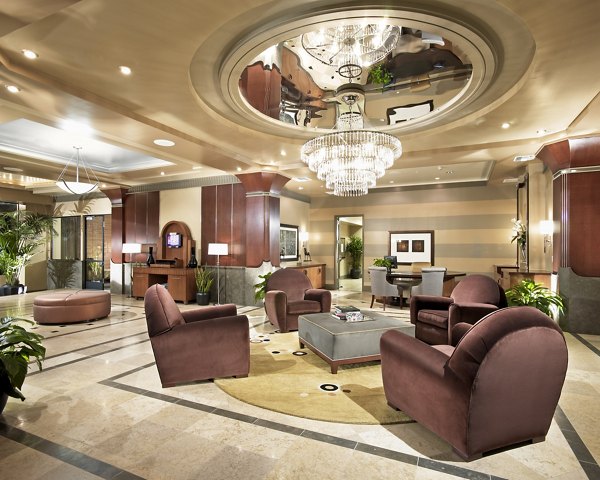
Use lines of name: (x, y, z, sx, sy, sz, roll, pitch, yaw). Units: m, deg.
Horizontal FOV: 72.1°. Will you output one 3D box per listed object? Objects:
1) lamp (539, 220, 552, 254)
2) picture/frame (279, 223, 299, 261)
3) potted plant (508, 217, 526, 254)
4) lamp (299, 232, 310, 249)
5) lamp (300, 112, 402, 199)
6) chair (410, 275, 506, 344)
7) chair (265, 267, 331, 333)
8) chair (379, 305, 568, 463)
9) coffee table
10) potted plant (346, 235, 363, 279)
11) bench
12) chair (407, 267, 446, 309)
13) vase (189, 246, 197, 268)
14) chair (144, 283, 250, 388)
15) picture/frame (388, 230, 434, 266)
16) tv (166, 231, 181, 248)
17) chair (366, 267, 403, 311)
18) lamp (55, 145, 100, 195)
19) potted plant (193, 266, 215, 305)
lamp: (4.805, -0.046, 8.125, 0.210, 0.688, 0.825, 3, 8, 29)
picture/frame: (-0.352, 0.089, 11.251, 0.068, 0.973, 1.428, -2, -2, 21)
potted plant: (4.939, -0.090, 9.422, 0.291, 0.768, 1.603, 3, 7, 25)
lamp: (0.118, 0.020, 12.344, 0.171, 0.617, 0.821, 1, 7, 11)
lamp: (0.821, -1.367, 6.380, 1.510, 1.092, 1.517, 18, 30, 30)
chair: (2.138, 0.847, 5.749, 1.216, 1.206, 1.142, 3, -7, -15)
chair: (-0.075, 1.002, 6.987, 1.169, 0.931, 1.069, 0, 0, -4)
chair: (1.483, 1.102, 3.857, 1.277, 1.158, 1.352, 0, 2, -20)
coffee table: (0.706, 1.201, 5.120, 0.837, 0.331, 0.873, 3, -3, -22)
potted plant: (2.333, 0.729, 18.236, 0.680, 1.774, 0.979, 0, 7, 6)
bench: (-4.222, 1.219, 7.674, 1.186, 0.448, 1.194, 2, 1, -3)
chair: (2.586, 1.047, 8.589, 0.661, 0.903, 0.666, -4, -4, 45)
vase: (-2.610, 0.415, 10.060, 0.174, 0.481, 0.353, -2, 7, -10)
chair: (-1.210, 1.065, 4.999, 1.407, 1.047, 1.348, 0, 3, 15)
picture/frame: (3.010, 0.223, 11.091, 1.021, 0.712, 0.086, -1, -3, 24)
tv: (-3.156, 0.001, 10.343, 0.542, 0.412, 0.140, 5, 9, 40)
chair: (1.872, 1.018, 9.121, 0.872, 0.836, 0.844, 2, -1, 7)
lamp: (-4.788, -1.457, 8.922, 0.839, 0.874, 2.226, -4, 7, -28)
potted plant: (-2.336, 1.128, 9.816, 0.466, 0.810, 0.506, 4, -9, -44)
